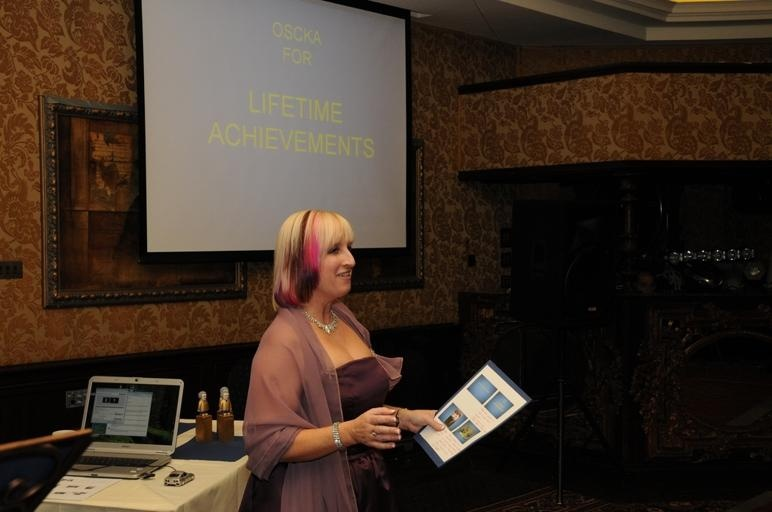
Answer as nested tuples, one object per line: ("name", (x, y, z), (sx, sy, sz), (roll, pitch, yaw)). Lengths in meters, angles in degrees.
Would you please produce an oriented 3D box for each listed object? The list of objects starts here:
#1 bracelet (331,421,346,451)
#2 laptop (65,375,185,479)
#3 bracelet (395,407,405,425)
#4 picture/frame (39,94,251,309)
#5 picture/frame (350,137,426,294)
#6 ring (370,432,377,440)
("bracelet", (-0.228, 0.835, 2.864), (0.066, 0.117, 0.103), (-12, -34, 6))
("laptop", (-1.441, 0.954, 3.464), (0.577, 0.469, 0.546), (1, 1, 5))
("bracelet", (0.068, 0.784, 3.007), (0.024, 0.072, 0.053), (2, -2, 0))
("picture/frame", (-1.888, -0.399, 4.829), (1.481, 1.543, 0.140), (-1, 4, -4))
("picture/frame", (-0.011, -0.421, 5.915), (0.124, 1.792, 1.456), (-1, -2, 40))
("ring", (-0.057, 0.828, 2.839), (0.032, 0.031, 0.012), (1, 12, 8))
